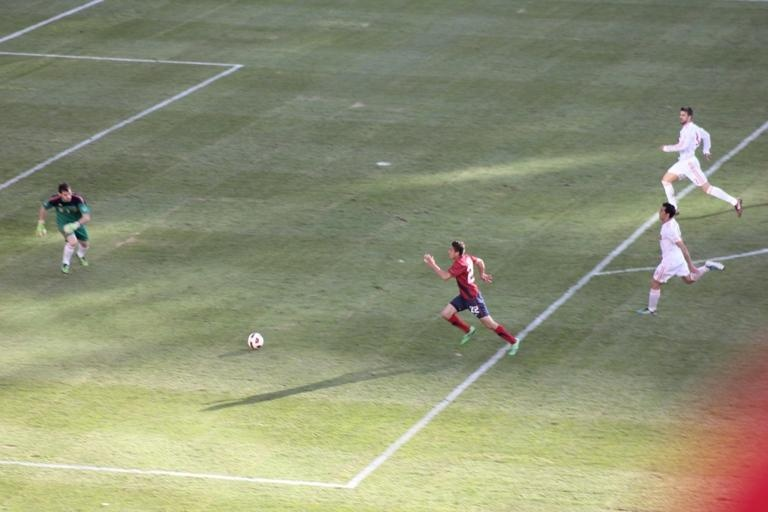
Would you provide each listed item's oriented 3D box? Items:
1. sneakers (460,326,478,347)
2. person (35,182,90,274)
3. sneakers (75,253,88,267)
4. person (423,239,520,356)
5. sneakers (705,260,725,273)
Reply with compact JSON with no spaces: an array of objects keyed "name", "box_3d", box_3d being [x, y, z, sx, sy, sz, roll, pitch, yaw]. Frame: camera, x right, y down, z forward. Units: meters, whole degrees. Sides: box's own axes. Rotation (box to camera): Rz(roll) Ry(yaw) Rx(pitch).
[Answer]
[{"name":"sneakers","box_3d":[1.706,1.621,28.006,0.226,0.487,0.177,42,3,-34]},{"name":"person","box_3d":[-6.964,-0.681,30.325,1.184,2.060,0.999,-14,22,-7]},{"name":"sneakers","box_3d":[-6.647,0.063,30.637,0.176,0.077,0.367,-18,30,-34]},{"name":"person","box_3d":[1.761,0.787,27.555,1.424,2.412,0.990,-9,22,5]},{"name":"sneakers","box_3d":[6.895,0.201,29.164,0.626,0.135,0.218,8,21,16]}]
